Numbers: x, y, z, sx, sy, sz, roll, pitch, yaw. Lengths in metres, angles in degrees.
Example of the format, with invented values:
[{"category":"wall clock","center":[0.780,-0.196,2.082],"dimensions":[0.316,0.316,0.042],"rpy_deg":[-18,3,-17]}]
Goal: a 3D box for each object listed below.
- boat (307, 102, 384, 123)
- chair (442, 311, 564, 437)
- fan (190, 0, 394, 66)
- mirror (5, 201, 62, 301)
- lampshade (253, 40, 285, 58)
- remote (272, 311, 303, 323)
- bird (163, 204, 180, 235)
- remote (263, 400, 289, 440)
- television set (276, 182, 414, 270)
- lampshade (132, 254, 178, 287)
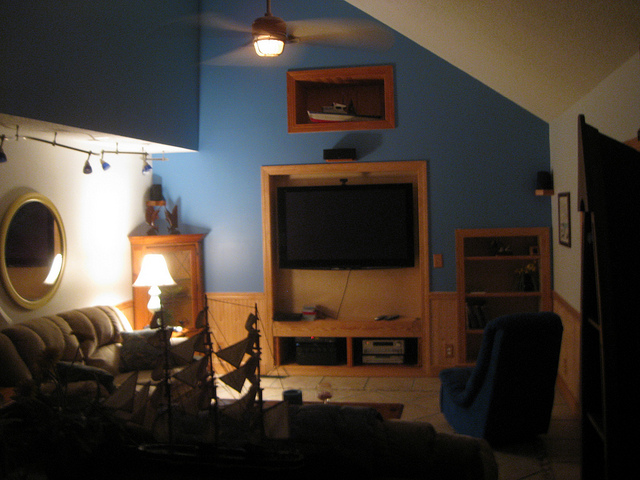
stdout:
[{"category":"boat","center":[0.259,-1.382,6.550],"dimensions":[0.776,0.226,0.137],"rpy_deg":[1,1,11]},{"category":"chair","center":[1.459,1.081,4.929],"dimensions":[0.755,1.042,0.921],"rpy_deg":[-2,1,-27]},{"category":"fan","center":[-0.353,-2.124,6.043],"dimensions":[2.176,0.670,1.094],"rpy_deg":[1,1,6]},{"category":"mirror","center":[-2.480,0.099,5.154],"dimensions":[0.051,0.647,0.679],"rpy_deg":[-1,25,22]},{"category":"lampshade","center":[-0.489,-1.821,5.721],"dimensions":[0.269,0.074,0.287],"rpy_deg":[1,1,-6]},{"category":"remote","center":[-0.353,0.862,6.809],"dimensions":[0.330,0.075,0.292],"rpy_deg":[1,1,2]},{"category":"bird","center":[-1.653,-0.219,6.692],"dimensions":[0.156,0.310,0.402],"rpy_deg":[0,1,-15]},{"category":"remote","center":[-0.222,0.868,2.861],"dimensions":[0.135,0.180,0.008],"rpy_deg":[-2,15,1]},{"category":"television set","center":[0.268,-0.150,6.623],"dimensions":[1.493,0.939,0.104],"rpy_deg":[1,1,10]},{"category":"lampshade","center":[-1.663,0.320,6.077],"dimensions":[0.336,0.219,0.330],"rpy_deg":[-1,2,-23]}]
